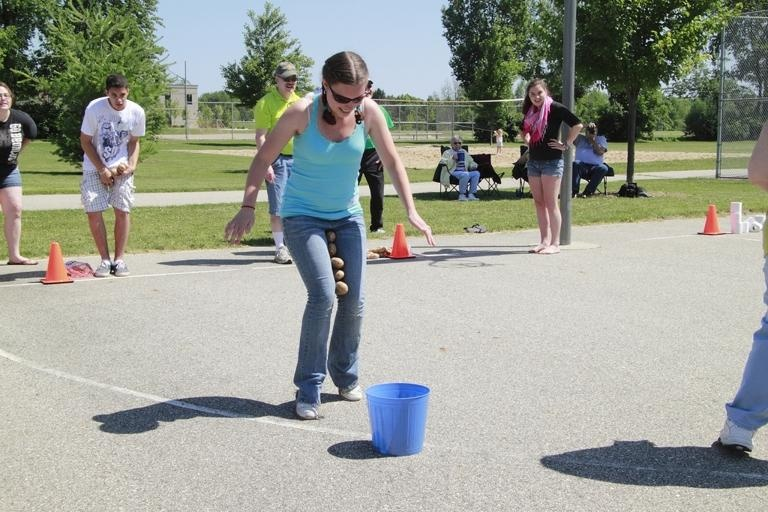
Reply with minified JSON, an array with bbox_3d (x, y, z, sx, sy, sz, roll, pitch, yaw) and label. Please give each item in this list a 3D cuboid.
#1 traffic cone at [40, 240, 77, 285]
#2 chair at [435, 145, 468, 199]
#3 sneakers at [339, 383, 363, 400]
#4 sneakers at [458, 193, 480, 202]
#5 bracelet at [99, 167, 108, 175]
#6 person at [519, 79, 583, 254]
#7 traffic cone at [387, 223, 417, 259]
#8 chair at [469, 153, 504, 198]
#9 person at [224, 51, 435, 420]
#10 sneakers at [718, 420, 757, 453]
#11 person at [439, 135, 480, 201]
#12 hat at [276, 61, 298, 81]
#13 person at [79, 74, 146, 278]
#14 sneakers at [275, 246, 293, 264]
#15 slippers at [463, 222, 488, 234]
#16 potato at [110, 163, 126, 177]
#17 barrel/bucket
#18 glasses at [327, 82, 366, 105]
[{"bbox_3d":[-4.078,0.071,9.395,0.363,0.501,0.304,-6,13,-27],"label":"traffic cone"},{"bbox_3d":[1.789,-2.204,19.221,0.883,1.328,0.797,-2,12,-26],"label":"chair"},{"bbox_3d":[-0.264,1.107,6.204,0.199,0.134,0.098,-3,7,4],"label":"sneakers"},{"bbox_3d":[2.065,-1.436,18.623,0.520,0.217,0.200,0,7,-14],"label":"sneakers"},{"bbox_3d":[-3.568,-1.075,9.604,0.080,0.059,0.079,2,2,13],"label":"bracelet"},{"bbox_3d":[2.463,-1.335,11.314,0.849,2.552,0.630,3,11,12],"label":"person"},{"bbox_3d":[0.242,-0.258,11.330,0.473,0.592,0.455,-12,19,-38],"label":"traffic cone"},{"bbox_3d":[2.630,-2.171,20.131,0.809,0.934,0.672,-11,-3,2],"label":"chair"},{"bbox_3d":[-0.438,-0.153,5.853,1.371,2.748,0.519,-3,12,-17],"label":"person"},{"bbox_3d":[2.465,1.264,5.301,0.133,0.153,0.317,7,-13,32],"label":"sneakers"},{"bbox_3d":[1.889,-2.224,18.936,0.934,1.517,1.464,2,11,9],"label":"person"},{"bbox_3d":[-1.330,-2.489,10.176,0.220,0.179,0.315,-3,10,-18],"label":"hat"},{"bbox_3d":[-3.496,-1.046,9.786,0.812,2.549,0.579,-4,12,-20],"label":"person"},{"bbox_3d":[-1.280,-0.007,9.631,0.226,0.263,0.581,-1,4,-19],"label":"sneakers"},{"bbox_3d":[1.659,-0.491,13.696,0.429,0.110,0.386,1,11,3],"label":"slippers"},{"bbox_3d":[-3.401,-1.109,9.699,0.190,0.154,0.051,0,11,1],"label":"potato"},{"bbox_3d":[0.104,1.172,5.456,0.486,0.364,0.438,0,1,5],"label":"barrel/bucket"},{"bbox_3d":[-0.313,-1.191,5.630,0.195,0.058,0.193,-2,36,-30],"label":"glasses"}]
